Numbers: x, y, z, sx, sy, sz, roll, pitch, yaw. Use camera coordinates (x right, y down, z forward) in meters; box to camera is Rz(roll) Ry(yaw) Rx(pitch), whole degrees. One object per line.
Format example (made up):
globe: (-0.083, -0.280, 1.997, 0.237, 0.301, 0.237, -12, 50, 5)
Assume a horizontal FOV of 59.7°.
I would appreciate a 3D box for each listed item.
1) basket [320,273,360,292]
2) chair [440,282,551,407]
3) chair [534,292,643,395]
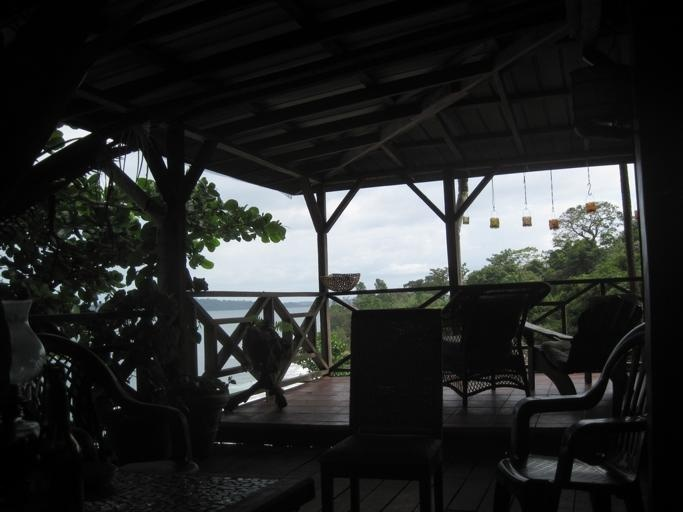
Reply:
basket: (-0.034, 0.310, 7.105, 0.481, 0.237, 0.361, -2, -4, 18)
chair: (1.083, 0.628, 4.892, 0.951, 1.255, 0.939, 0, -5, -9)
chair: (1.698, 0.664, 4.462, 0.634, 0.869, 0.835, 2, -10, -17)
